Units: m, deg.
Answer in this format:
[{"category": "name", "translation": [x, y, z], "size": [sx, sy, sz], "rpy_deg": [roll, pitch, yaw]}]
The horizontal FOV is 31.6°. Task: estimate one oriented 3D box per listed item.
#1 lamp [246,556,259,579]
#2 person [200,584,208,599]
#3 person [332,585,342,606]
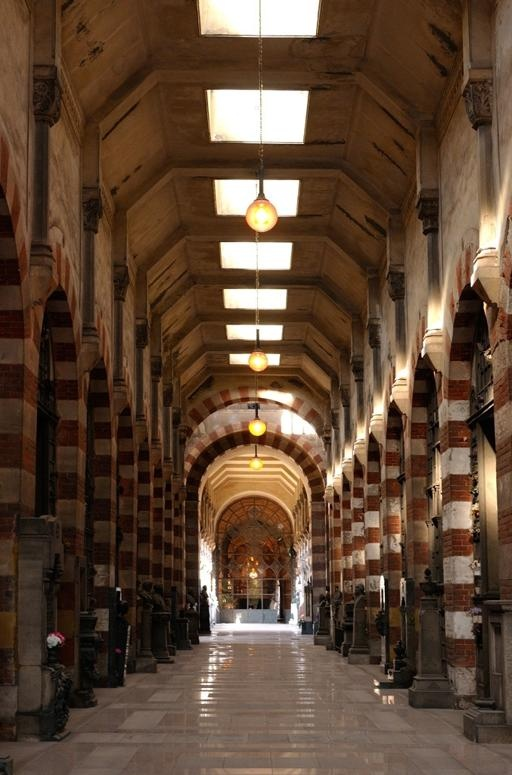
[{"category": "lamp", "translation": [-0.180, 9.284, 46.611], "size": [0.425, 0.945, 0.223], "rpy_deg": [0, -37, -2]}, {"category": "person", "translation": [-1.816, 7.107, 31.488], "size": [0.190, 0.440, 0.977], "rpy_deg": [2, -20, -8]}, {"category": "person", "translation": [1.966, 5.078, 22.026], "size": [0.253, 0.847, 0.307], "rpy_deg": [2, -6, 5]}]
